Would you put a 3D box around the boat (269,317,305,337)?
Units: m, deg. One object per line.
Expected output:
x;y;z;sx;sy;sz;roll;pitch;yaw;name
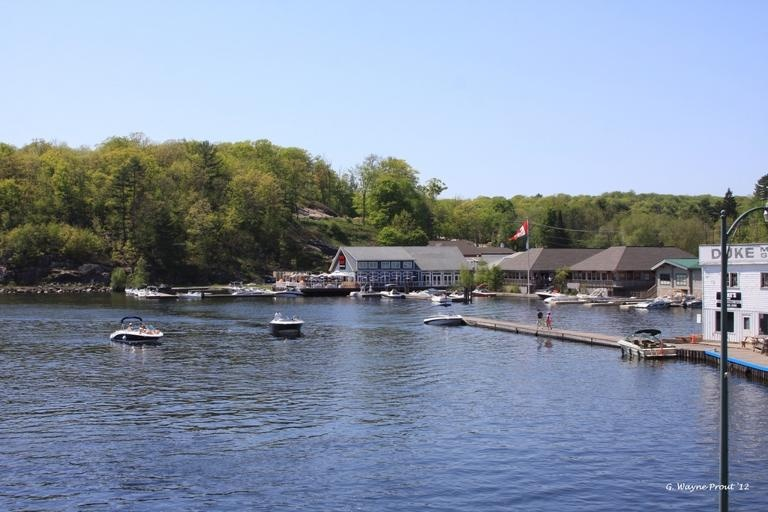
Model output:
-13.405;9.765;151.295;4.125;2.503;3.362;0;-2;5;boat

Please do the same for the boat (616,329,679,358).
31.296;10.485;131.529;3.406;3.470;6.232;2;-3;-43;boat
